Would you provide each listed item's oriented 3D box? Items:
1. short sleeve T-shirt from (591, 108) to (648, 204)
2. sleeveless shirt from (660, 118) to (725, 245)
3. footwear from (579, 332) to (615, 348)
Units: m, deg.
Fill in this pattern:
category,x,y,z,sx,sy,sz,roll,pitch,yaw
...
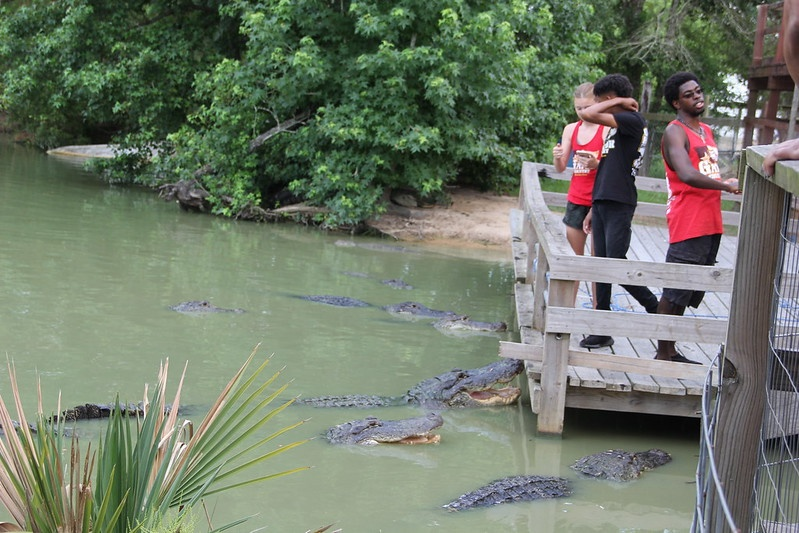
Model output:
category,x,y,z,sx,sy,sz,roll,pitch,yaw
short sleeve T-shirt,2.865,-1.454,14.425,0.685,1.214,0.848,6,-3,7
sleeveless shirt,3.651,-1.064,13.581,0.693,1.523,0.497,1,4,14
footwear,2.613,0.971,14.567,0.467,0.293,0.172,2,14,3
